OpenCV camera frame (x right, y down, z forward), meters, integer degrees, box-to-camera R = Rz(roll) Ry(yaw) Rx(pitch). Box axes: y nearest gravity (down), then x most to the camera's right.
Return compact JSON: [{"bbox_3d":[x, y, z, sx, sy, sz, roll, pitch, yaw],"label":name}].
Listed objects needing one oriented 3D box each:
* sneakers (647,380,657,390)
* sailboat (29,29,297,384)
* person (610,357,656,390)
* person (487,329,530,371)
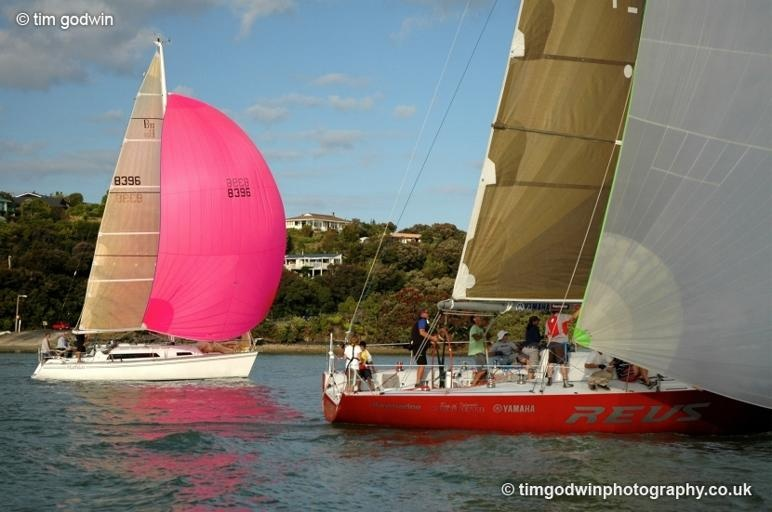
[{"bbox_3d":[5.483,2.635,15.577,0.125,0.063,0.197,3,22,19],"label":"sneakers"},{"bbox_3d":[-7.895,-1.190,28.415,7.520,12.003,2.871,-2,3,14],"label":"sailboat"},{"bbox_3d":[5.182,2.430,15.771,0.825,0.567,0.332,23,48,21],"label":"person"},{"bbox_3d":[2.753,2.119,17.664,0.335,0.470,1.063,-19,-3,-26],"label":"person"}]
